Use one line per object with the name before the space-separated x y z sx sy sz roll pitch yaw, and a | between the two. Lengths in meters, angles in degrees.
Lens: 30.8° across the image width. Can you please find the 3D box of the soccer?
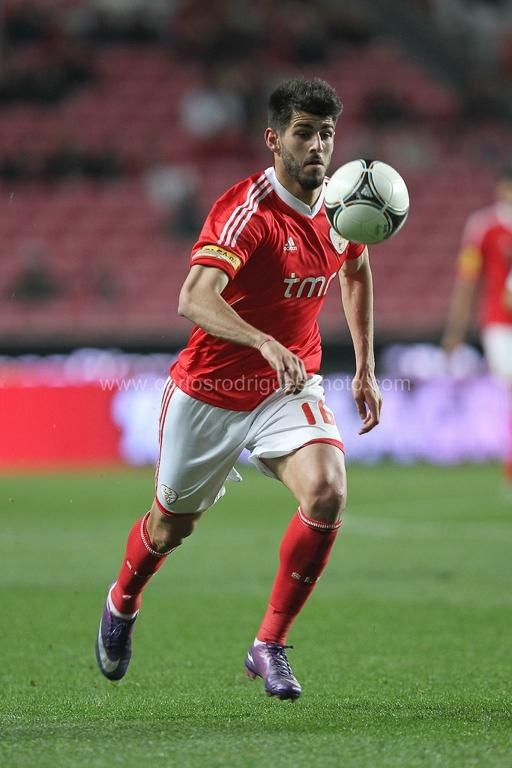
soccer | 0.341 -0.554 2.845 0.264 0.252 0.240 15 19 -1

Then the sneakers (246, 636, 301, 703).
sneakers | 0.046 0.884 2.830 0.099 0.103 0.237 5 2 -29

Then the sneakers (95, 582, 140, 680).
sneakers | -0.481 0.894 3.276 0.107 0.116 0.276 19 47 -22
